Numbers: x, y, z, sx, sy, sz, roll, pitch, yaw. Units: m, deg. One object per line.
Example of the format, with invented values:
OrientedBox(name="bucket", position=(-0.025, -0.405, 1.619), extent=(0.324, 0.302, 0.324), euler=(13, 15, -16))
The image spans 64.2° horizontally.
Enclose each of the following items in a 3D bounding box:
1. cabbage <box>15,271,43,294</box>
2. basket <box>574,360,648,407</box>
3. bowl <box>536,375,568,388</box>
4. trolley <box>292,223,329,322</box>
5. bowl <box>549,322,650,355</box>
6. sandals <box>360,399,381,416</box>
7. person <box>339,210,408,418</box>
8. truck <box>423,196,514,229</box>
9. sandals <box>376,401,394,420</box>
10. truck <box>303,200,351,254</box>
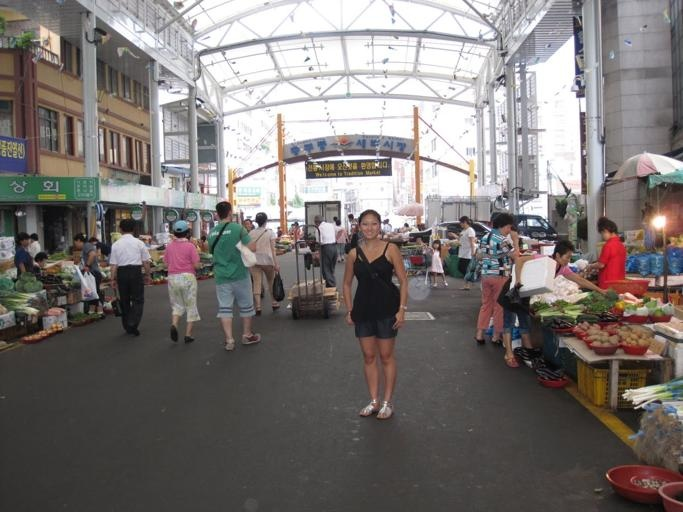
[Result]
OrientedBox(name="cabbage", position=(-6.272, 0.519, 10.921), extent=(0.452, 0.266, 0.355), euler=(-6, 7, -25))
OrientedBox(name="basket", position=(3.087, 1.461, 6.620), extent=(0.727, 0.434, 0.914), euler=(3, 6, 2))
OrientedBox(name="bowl", position=(2.769, 1.616, 7.027), extent=(0.380, 0.103, 0.303), euler=(-1, 6, 7))
OrientedBox(name="trolley", position=(-0.759, 0.332, 12.550), extent=(0.921, 1.966, 1.165), euler=(-3, 7, -4))
OrientedBox(name="bowl", position=(3.187, 0.948, 6.537), extent=(0.683, 0.303, 0.868), euler=(3, 4, 7))
OrientedBox(name="sandals", position=(0.336, 1.735, 6.209), extent=(0.101, 0.128, 0.303), euler=(-7, -17, 28))
OrientedBox(name="person", position=(0.395, 0.648, 6.109), extent=(0.647, 2.243, 0.519), euler=(-3, -3, 16))
OrientedBox(name="truck", position=(5.878, -2.399, 29.398), extent=(4.068, 1.687, 2.463), euler=(1, 5, -2))
OrientedBox(name="sandals", position=(0.482, 1.723, 6.074), extent=(0.106, 0.131, 0.333), euler=(-2, -9, 7))
OrientedBox(name="truck", position=(-1.648, -1.992, 33.390), extent=(3.260, 4.911, 2.516), euler=(-1, 2, 3))
